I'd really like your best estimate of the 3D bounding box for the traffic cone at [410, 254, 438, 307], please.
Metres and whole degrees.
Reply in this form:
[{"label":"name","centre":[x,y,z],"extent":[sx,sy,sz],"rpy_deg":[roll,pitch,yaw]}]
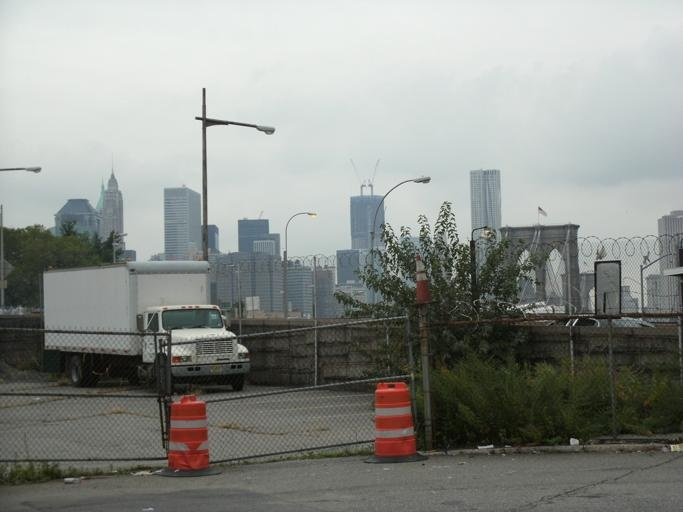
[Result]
[{"label":"traffic cone","centre":[1.667,0.524,33.831],"extent":[0.916,1.125,1.001],"rpy_deg":[2,0,16]}]
